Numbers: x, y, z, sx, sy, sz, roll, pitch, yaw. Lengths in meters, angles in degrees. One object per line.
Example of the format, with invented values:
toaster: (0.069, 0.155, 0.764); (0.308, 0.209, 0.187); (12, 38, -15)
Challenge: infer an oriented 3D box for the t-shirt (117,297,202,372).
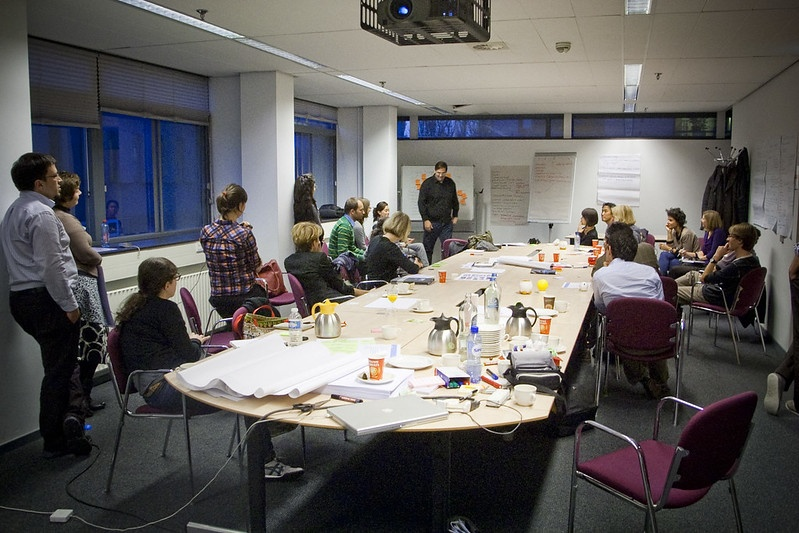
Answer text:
t-shirt: (-1.693, 0.479, 3.789); (0.516, 0.537, 0.511); (-3, 1, -45)

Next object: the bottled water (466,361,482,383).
bottled water: (0.429, 0.621, 3.069); (0.090, 0.112, 0.116); (-2, 2, 5)

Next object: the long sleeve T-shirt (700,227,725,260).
long sleeve T-shirt: (4.581, -0.316, 7.669); (0.286, 0.499, 0.521); (5, 6, 25)

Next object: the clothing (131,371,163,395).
clothing: (-1.702, 0.782, 3.548); (0.146, 0.122, 0.082); (-28, 19, -28)

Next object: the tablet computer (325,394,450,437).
tablet computer: (-0.050, 0.766, 2.734); (0.618, 0.093, 0.306); (-3, 10, -15)

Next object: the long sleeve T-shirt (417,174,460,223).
long sleeve T-shirt: (0.767, -1.308, 10.366); (1.006, 1.100, 0.571); (-3, 5, -15)

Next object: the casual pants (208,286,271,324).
casual pants: (-1.592, 0.341, 5.099); (0.433, 0.176, 0.441); (-2, 4, 35)

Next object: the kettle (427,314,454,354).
kettle: (0.306, 0.449, 3.477); (0.230, 0.256, 0.167); (-5, 6, -17)

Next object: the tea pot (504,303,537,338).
tea pot: (0.874, 0.391, 3.752); (0.242, 0.275, 0.169); (-3, 6, -11)

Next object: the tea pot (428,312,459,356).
tea pot: (0.295, 0.442, 3.470); (0.224, 0.259, 0.166); (-1, 7, -6)

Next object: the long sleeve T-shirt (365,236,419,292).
long sleeve T-shirt: (-0.112, -0.097, 6.090); (0.576, 0.692, 0.487); (-14, 24, -21)

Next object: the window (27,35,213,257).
window: (-3.166, -1.375, 5.861); (0.210, 1.653, 2.445); (6, 6, 19)

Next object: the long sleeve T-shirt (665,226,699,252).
long sleeve T-shirt: (4.552, -0.414, 8.506); (0.488, 0.348, 0.379); (-1, 3, -4)

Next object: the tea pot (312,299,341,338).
tea pot: (-0.530, 0.384, 3.845); (0.281, 0.298, 0.180); (1, 3, 24)

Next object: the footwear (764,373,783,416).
footwear: (3.334, 1.126, 4.713); (0.154, 0.401, 0.133); (0, 0, -33)

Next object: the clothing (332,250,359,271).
clothing: (-0.645, -0.058, 6.245); (0.203, 0.105, 0.265); (8, 6, 18)

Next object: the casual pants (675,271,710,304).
casual pants: (3.624, 0.277, 6.482); (0.404, 0.369, 0.324); (9, 12, 40)

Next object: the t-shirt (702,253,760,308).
t-shirt: (3.834, 0.185, 6.051); (0.518, 0.639, 0.350); (-8, 27, -27)

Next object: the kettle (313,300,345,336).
kettle: (-0.555, 0.384, 3.850); (0.277, 0.300, 0.181); (0, 2, 17)

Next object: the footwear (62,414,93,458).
footwear: (-2.493, 1.296, 4.086); (0.168, 0.341, 0.147); (-9, 6, -19)

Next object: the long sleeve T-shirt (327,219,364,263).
long sleeve T-shirt: (-0.752, -0.374, 6.761); (0.504, 0.564, 0.481); (-2, 13, -16)
